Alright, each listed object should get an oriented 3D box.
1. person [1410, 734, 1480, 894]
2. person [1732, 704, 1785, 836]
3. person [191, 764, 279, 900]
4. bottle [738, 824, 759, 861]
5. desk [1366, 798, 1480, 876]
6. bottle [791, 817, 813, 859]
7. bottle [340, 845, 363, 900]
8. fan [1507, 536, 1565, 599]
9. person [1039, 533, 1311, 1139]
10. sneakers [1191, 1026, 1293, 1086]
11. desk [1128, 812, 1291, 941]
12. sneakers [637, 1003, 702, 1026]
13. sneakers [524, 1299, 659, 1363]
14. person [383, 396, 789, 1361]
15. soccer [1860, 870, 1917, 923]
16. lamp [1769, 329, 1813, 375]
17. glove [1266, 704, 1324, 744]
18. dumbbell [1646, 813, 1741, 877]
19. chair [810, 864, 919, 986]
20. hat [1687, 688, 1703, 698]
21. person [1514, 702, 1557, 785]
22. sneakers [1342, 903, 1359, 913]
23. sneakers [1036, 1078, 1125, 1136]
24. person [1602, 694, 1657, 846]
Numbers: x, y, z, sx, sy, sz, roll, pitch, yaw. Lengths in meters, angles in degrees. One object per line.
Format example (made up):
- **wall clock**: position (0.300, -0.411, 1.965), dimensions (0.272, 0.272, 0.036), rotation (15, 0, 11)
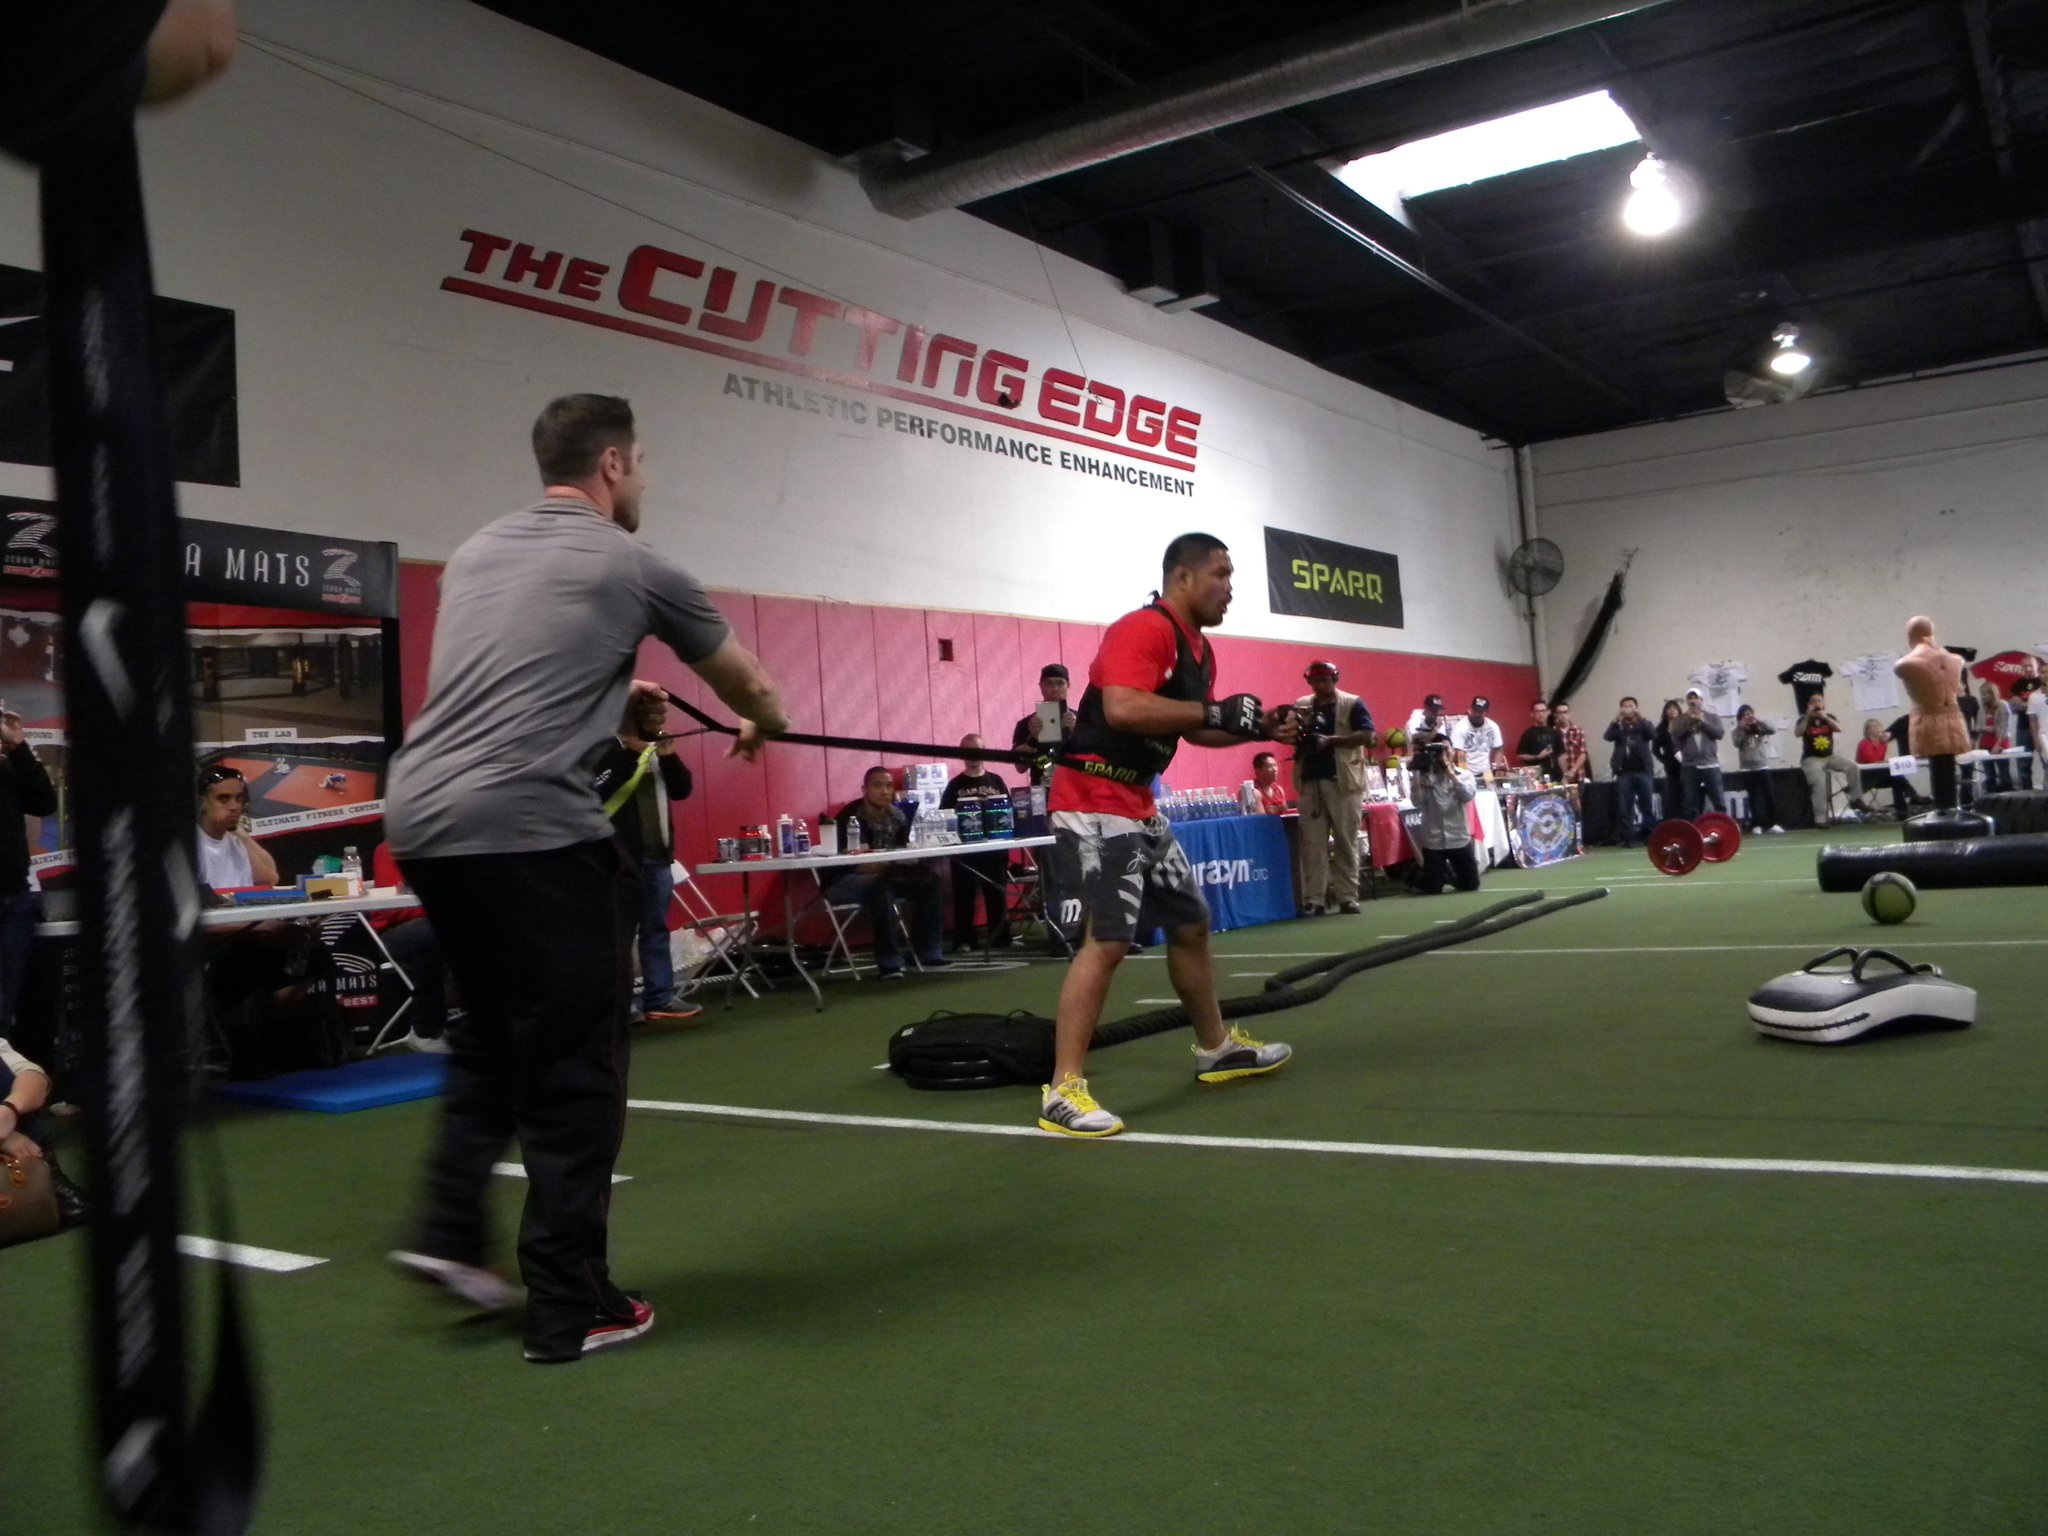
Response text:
- **person**: position (3.807, 0.397, 11.881), dimensions (0.476, 1.447, 0.552), rotation (-4, -1, 17)
- **person**: position (9.612, 0.002, 17.066), dimensions (0.471, 1.835, 1.100), rotation (-4, -1, 30)
- **person**: position (-3.663, 0.248, 6.072), dimensions (0.264, 0.641, 1.534), rotation (-3, -1, -31)
- **bottle**: position (-1.722, 0.465, 8.113), dimensions (0.141, 0.279, 0.146), rotation (-2, -2, 0)
- **desk**: position (3.550, 0.654, 12.564), dimensions (0.847, 0.453, 0.841), rotation (-5, 4, -33)
- **bottle**: position (-1.344, 0.433, 8.068), dimensions (0.176, 0.340, 0.191), rotation (-2, -3, 0)
- **bottle**: position (-3.149, 0.489, 6.096), dimensions (0.127, 0.249, 0.131), rotation (0, 0, 0)
- **fan**: position (7.749, -3.062, 19.794), dimensions (0.733, 0.968, 1.001), rotation (-3, -1, -15)
- **person**: position (0.439, 0.173, 4.267), dimensions (0.946, 1.692, 0.532), rotation (-3, -1, -43)
- **sneakers**: position (0.797, 1.040, 4.749), dimensions (0.353, 0.189, 0.159), rotation (-3, -3, -10)
- **desk**: position (1.121, 0.637, 7.629), dimensions (0.225, 0.690, 1.147), rotation (-22, -15, 36)
- **sneakers**: position (-1.938, 1.339, 7.196), dimensions (0.277, 0.133, 0.109), rotation (0, -3, -18)
- **sneakers**: position (-0.859, 1.107, 2.597), dimensions (0.096, 0.089, 0.207), rotation (3, 9, 35)
- **person**: position (-0.925, 0.185, 2.641), dimensions (0.796, 1.341, 0.419), rotation (-3, -1, -9)
- **soccer**: position (4.923, 0.733, 7.420), dimensions (0.217, 0.333, 0.335), rotation (-4, -1, 38)
- **lamp**: position (8.494, -4.530, 14.530), dimensions (0.655, 0.531, 0.272), rotation (-3, -1, -43)
- **glove**: position (0.907, -0.148, 4.460), dimensions (0.148, 0.085, 0.216), rotation (1, -5, 2)
- **dumbbell**: position (6.120, 0.699, 11.871), dimensions (1.091, 0.583, 0.386), rotation (-3, -1, -40)
- **chair**: position (-0.915, 1.019, 8.892), dimensions (0.693, 1.006, 0.657), rotation (-3, -4, 24)
- **hat**: position (8.739, -0.981, 17.012), dimensions (0.235, 0.114, 0.342), rotation (-2, 1, 38)
- **person**: position (6.366, -0.303, 16.095), dimensions (0.497, 0.984, 1.723), rotation (-4, -1, 23)
- **sneakers**: position (2.698, 1.153, 10.755), dimensions (0.098, 0.048, 0.141), rotation (12, 1, -18)
- **sneakers**: position (0.171, 1.045, 4.055), dimensions (0.254, 0.132, 0.144), rotation (-4, -7, 28)
- **person**: position (7.975, 0.026, 17.055), dimensions (0.541, 1.959, 1.405), rotation (-4, -1, 25)
